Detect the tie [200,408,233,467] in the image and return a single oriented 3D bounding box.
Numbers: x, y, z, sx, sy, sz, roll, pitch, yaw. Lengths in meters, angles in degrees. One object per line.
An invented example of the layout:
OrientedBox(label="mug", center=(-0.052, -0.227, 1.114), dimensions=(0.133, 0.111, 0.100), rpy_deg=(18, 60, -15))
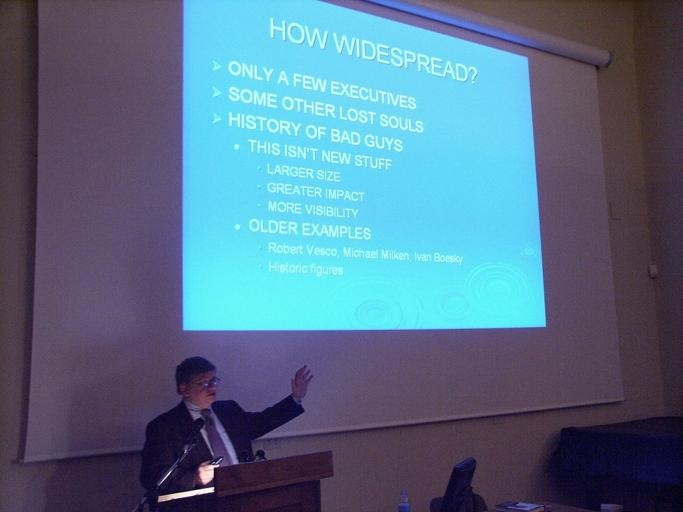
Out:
OrientedBox(label="tie", center=(-0.682, 0.997, 3.167), dimensions=(0.063, 0.343, 0.040), rpy_deg=(-22, -16, -11))

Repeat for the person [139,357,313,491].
OrientedBox(label="person", center=(-0.672, 0.917, 3.187), dimensions=(0.511, 0.813, 0.268), rpy_deg=(16, -48, -43))
